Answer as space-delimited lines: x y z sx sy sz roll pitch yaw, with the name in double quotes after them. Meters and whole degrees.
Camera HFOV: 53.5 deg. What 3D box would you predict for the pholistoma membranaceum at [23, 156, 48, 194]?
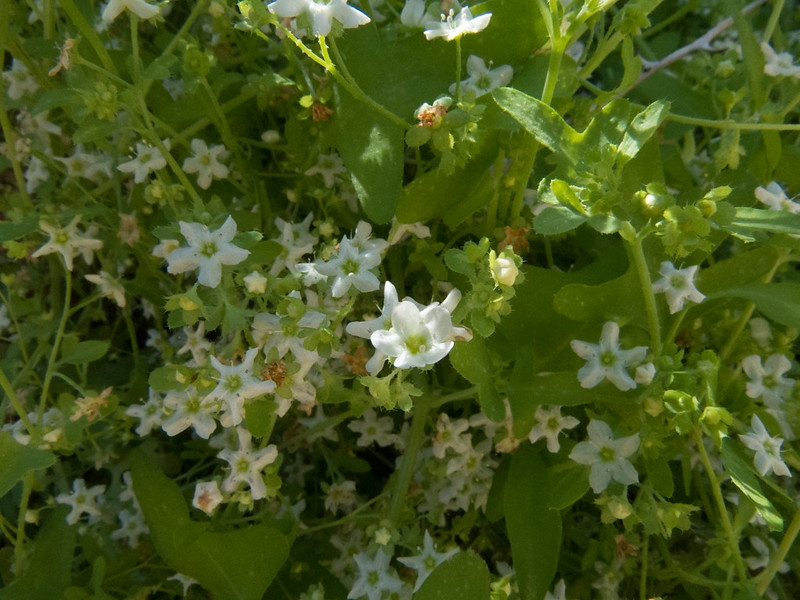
-0.621 -0.207 1.361 0.049 0.023 0.059 -11 77 17 "pholistoma membranaceum"
